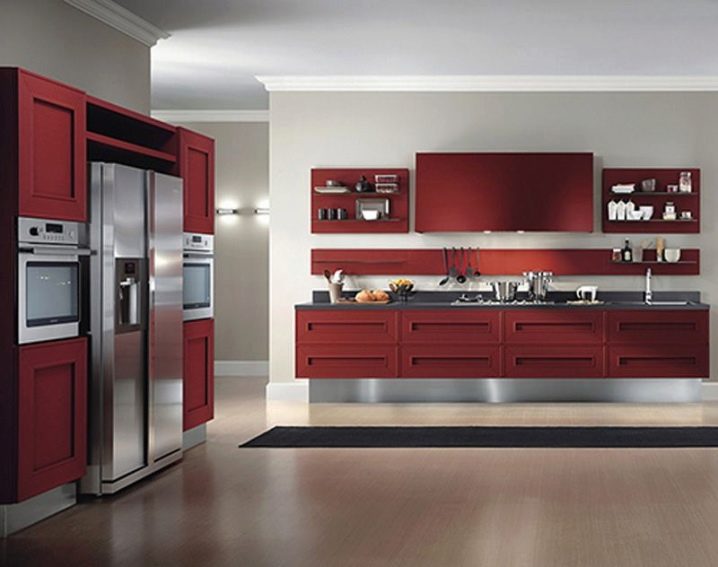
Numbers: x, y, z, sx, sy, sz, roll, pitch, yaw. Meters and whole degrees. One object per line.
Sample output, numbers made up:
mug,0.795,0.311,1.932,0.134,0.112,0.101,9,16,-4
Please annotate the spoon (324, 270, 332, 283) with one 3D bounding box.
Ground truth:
spoon,-0.314,-0.076,6.501,0.074,0.134,0.216,-1,4,-3

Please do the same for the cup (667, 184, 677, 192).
cup,3.158,-0.954,6.365,0.118,0.074,0.053,-3,4,-26

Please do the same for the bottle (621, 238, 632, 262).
bottle,2.711,-0.330,6.399,0.095,0.219,0.106,-1,4,2

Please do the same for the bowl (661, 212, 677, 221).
bowl,3.113,-0.668,6.339,0.101,0.057,0.097,0,-1,0

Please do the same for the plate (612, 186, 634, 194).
plate,2.660,-0.952,6.373,0.212,0.078,0.068,-1,4,-3

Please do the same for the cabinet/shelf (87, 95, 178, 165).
cabinet/shelf,-1.672,-1.104,4.522,0.719,0.215,0.192,15,-5,-37

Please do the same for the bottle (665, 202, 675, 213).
bottle,3.130,-0.775,6.381,0.090,0.110,0.097,1,4,23

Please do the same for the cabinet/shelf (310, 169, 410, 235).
cabinet/shelf,0.041,-0.860,6.481,0.745,0.452,0.204,0,-2,2

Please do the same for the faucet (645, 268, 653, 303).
faucet,2.918,0.013,6.388,0.072,0.333,0.199,1,4,25

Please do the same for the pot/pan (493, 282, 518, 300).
pot/pan,1.474,0.082,6.383,0.225,0.139,0.171,0,-1,0

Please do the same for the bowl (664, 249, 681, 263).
bowl,3.142,-0.279,6.356,0.154,0.104,0.132,0,1,-11

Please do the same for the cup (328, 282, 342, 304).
cup,-0.239,0.098,6.371,0.187,0.210,0.181,1,-1,0

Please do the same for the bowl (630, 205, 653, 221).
bowl,2.833,-0.710,6.337,0.203,0.115,0.138,3,0,9

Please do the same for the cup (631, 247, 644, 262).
cup,2.786,-0.282,6.401,0.142,0.182,0.149,3,-6,0
